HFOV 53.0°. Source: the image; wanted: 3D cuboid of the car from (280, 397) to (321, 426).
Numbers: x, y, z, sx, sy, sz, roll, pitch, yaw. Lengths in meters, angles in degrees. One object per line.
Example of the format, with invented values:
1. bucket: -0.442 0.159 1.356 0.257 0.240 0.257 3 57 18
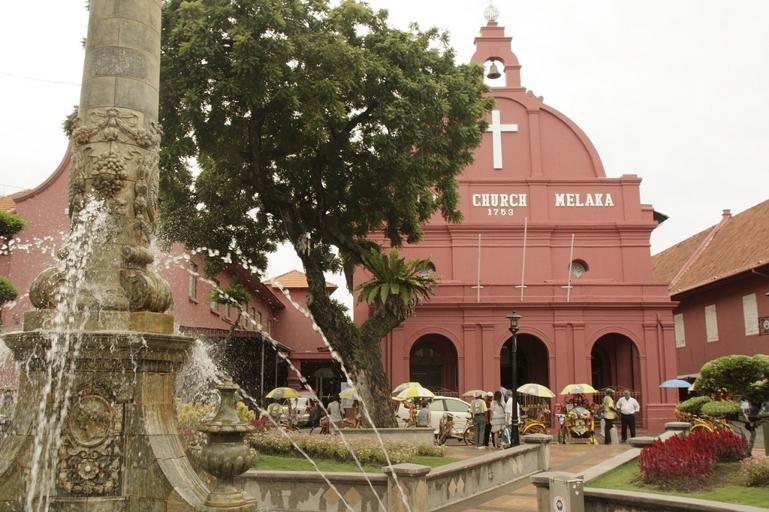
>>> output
1. car: -3.848 7.146 35.247 1.249 0.996 2.936 0 -3 2

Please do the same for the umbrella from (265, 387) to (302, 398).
1. umbrella: -3.869 5.140 28.913 0.966 0.326 0.967 6 -16 -26

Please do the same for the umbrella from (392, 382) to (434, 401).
1. umbrella: 0.914 4.783 26.934 1.103 0.400 1.125 -9 -15 29

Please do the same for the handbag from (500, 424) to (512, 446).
1. handbag: 3.673 5.439 23.364 0.188 0.542 0.379 8 -7 -13

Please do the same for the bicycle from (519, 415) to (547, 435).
1. bicycle: 4.877 5.602 25.348 1.125 0.490 1.153 0 -12 8

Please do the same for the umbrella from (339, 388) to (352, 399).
1. umbrella: -1.318 4.685 26.780 0.500 0.362 1.571 -1 -17 -3

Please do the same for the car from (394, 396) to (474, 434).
1. car: 1.870 5.580 27.318 2.158 1.073 1.296 0 -13 -8

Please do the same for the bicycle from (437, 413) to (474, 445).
1. bicycle: 2.360 5.671 25.362 1.489 0.900 0.694 8 -22 -13

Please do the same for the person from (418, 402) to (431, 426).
1. person: 1.193 4.873 23.918 0.352 0.788 0.560 -1 -16 -3
